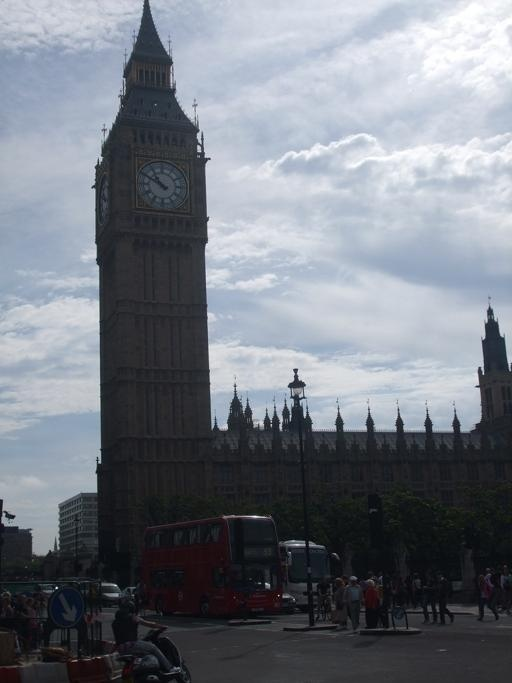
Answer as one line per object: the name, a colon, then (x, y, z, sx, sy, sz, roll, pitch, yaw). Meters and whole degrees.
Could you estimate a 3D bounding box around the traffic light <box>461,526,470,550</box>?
traffic light: (13.841, 12.886, 80.442, 0.561, 1.300, 1.393, -5, -9, 8)

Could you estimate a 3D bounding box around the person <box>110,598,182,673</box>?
person: (-1.719, 5.090, 21.182, 1.158, 0.872, 1.705, 18, -8, 16)
